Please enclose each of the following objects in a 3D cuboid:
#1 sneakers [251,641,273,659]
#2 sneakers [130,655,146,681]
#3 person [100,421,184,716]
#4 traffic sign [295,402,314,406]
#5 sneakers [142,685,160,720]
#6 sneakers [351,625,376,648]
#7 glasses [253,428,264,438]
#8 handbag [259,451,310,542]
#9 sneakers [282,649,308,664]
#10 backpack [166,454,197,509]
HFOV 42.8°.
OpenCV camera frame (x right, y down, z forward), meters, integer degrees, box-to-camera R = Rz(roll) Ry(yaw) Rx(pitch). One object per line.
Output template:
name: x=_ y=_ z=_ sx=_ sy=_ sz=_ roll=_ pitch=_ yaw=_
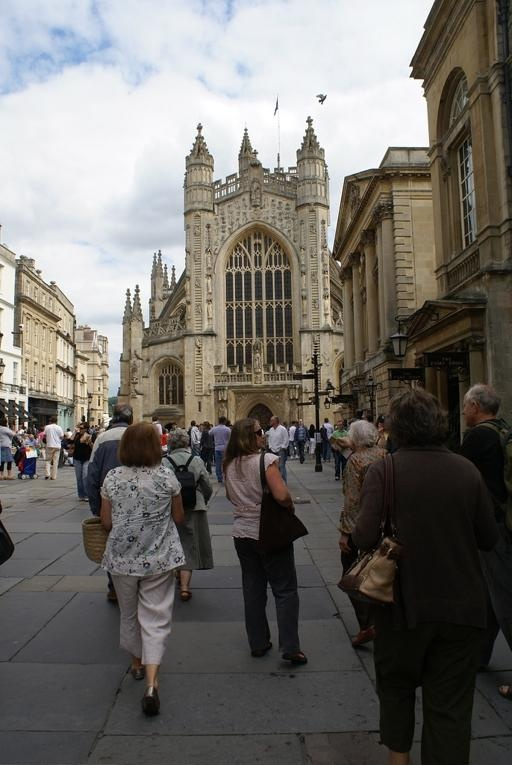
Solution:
sneakers: x=0.025 y=1.694 z=4.116 sx=0.046 sy=0.068 sz=0.153 roll=0 pitch=-6 yaw=16
sneakers: x=-0.677 y=1.629 z=3.733 sx=0.054 sy=0.068 sz=0.167 roll=2 pitch=-1 yaw=-8
person: x=-0.657 y=0.947 z=3.591 sx=0.462 sy=1.443 sz=0.699 roll=-3 pitch=-3 yaw=3
traffic sign: x=2.332 y=1.027 z=31.221 sx=0.745 sy=0.189 sz=0.748 roll=0 pitch=0 yaw=-32
sneakers: x=-0.525 y=1.585 z=3.234 sx=0.063 sy=0.147 sz=0.062 roll=1 pitch=2 yaw=-6
sneakers: x=0.687 y=1.632 z=4.204 sx=0.091 sy=0.170 sz=0.046 roll=30 pitch=19 yaw=-20
glasses: x=0.016 y=0.337 z=4.379 sx=0.059 sy=0.062 sz=0.062 roll=0 pitch=-5 yaw=2
handbag: x=0.150 y=0.739 z=4.070 sx=0.286 sy=0.574 sz=0.152 roll=-3 pitch=-3 yaw=2
sneakers: x=0.236 y=1.643 z=3.918 sx=0.133 sy=0.052 sz=0.078 roll=-2 pitch=-7 yaw=1
backpack: x=-0.599 y=0.873 z=5.586 sx=0.270 sy=0.400 sz=0.398 roll=-2 pitch=-14 yaw=-2
